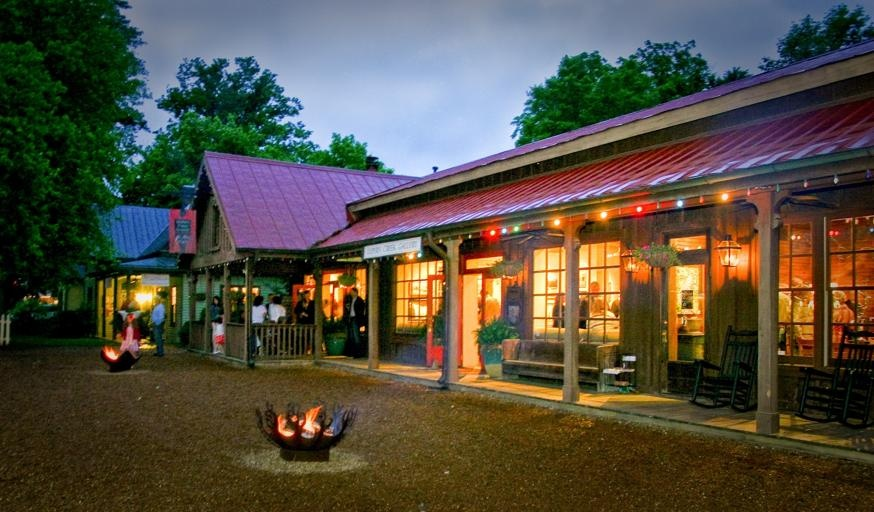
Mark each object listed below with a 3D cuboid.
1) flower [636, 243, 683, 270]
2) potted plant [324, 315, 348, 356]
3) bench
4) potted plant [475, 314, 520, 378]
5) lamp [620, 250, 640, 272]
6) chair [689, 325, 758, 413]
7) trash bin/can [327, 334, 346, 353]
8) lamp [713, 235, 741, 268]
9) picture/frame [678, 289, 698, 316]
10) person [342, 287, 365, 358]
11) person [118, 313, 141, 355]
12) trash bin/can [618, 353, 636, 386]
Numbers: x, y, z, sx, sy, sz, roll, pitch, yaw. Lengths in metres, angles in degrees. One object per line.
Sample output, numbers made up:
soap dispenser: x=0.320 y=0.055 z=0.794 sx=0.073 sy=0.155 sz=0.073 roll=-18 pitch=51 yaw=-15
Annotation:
flower: x=5.663 y=-0.013 z=18.744 sx=0.844 sy=0.471 sz=0.811 roll=5 pitch=-5 yaw=-34
potted plant: x=-4.139 y=3.127 z=28.048 sx=1.238 sy=1.263 sz=1.208 roll=-3 pitch=-10 yaw=10
bench: x=3.341 y=3.056 z=20.656 sx=3.347 sy=1.051 sz=0.968 roll=-4 pitch=-5 yaw=43
potted plant: x=1.882 y=2.835 z=22.430 sx=1.843 sy=1.759 sz=1.537 roll=0 pitch=-8 yaw=9
lamp: x=5.230 y=0.134 z=19.587 sx=0.530 sy=0.658 sz=0.523 roll=0 pitch=-1 yaw=-16
chair: x=6.980 y=2.652 z=17.558 sx=1.418 sy=1.906 sz=1.321 roll=2 pitch=10 yaw=21
trash bin/can: x=-3.852 y=3.341 z=27.607 sx=0.722 sy=0.719 sz=0.692 roll=3 pitch=-12 yaw=-7
lamp: x=7.262 y=-0.095 z=18.132 sx=0.645 sy=0.744 sz=0.651 roll=-2 pitch=-2 yaw=23
picture/frame: x=7.124 y=1.273 z=20.615 sx=0.440 sy=0.682 sz=0.142 roll=1 pitch=10 yaw=17
person: x=-3.226 y=2.445 z=27.752 sx=0.723 sy=2.631 sz=1.356 roll=-6 pitch=11 yaw=-26
person: x=-10.342 y=2.578 z=24.284 sx=0.548 sy=1.457 sz=1.268 roll=-5 pitch=10 yaw=-20
trash bin/can: x=5.135 y=3.042 z=19.543 sx=0.435 sy=0.824 sz=0.340 roll=3 pitch=11 yaw=27
